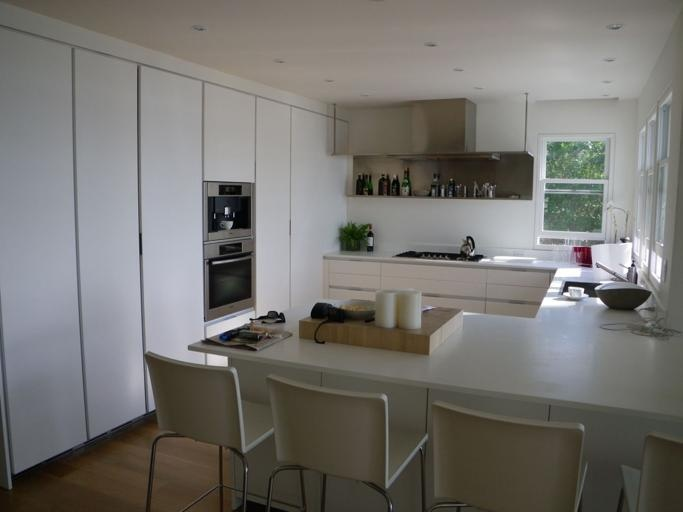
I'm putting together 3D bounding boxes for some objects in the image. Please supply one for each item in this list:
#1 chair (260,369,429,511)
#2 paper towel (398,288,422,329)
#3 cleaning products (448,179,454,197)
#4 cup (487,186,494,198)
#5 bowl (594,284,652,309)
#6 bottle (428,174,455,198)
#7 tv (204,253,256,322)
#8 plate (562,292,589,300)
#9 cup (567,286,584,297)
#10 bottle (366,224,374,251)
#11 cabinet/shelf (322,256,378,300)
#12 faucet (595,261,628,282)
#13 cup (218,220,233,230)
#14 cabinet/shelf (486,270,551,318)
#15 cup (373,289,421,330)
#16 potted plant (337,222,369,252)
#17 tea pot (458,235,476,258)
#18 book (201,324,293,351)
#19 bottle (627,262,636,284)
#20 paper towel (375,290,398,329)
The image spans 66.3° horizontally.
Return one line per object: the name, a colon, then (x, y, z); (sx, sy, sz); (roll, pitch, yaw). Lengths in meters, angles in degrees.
chair: (0.026, 0.857, 2.296); (0.704, 0.733, 0.443); (2, 9, 4)
paper towel: (0.374, 0.294, 2.845); (0.148, 0.186, 0.159); (-2, 4, -17)
cleaning products: (1.305, -0.825, 6.214); (0.080, 0.213, 0.127); (3, 9, 9)
cup: (1.726, -0.751, 6.036); (0.073, 0.122, 0.120); (5, 10, 23)
bowl: (1.926, 0.282, 3.582); (0.217, 0.132, 0.224); (-1, 1, 0)
bottle: (1.205, -0.842, 6.253); (0.288, 0.314, 0.165); (0, 1, 18)
tv: (-1.027, 0.274, 4.850); (0.450, 0.670, 0.685); (1, 4, 26)
plate: (1.791, 0.299, 4.017); (0.178, 0.043, 0.226); (5, 10, 24)
cup: (1.784, 0.272, 3.966); (0.083, 0.068, 0.086); (-2, 7, 0)
bottle: (0.370, -0.237, 6.676); (0.115, 0.339, 0.217); (2, 9, 3)
cabinet/shelf: (0.110, 0.273, 6.205); (0.784, 0.611, 0.429); (1, 0, 22)
faucet: (2.391, 0.132, 4.620); (0.381, 0.183, 0.088); (7, -21, -18)
cup: (-1.052, -0.288, 4.785); (0.039, 0.092, 0.183); (4, 10, 20)
cabinet/shelf: (1.918, 0.296, 5.663); (0.654, 0.674, 0.445); (2, 0, 24)
cup: (0.293, 0.284, 2.789); (0.306, 0.241, 0.178); (2, 3, 17)
potted plant: (0.135, -0.249, 6.645); (0.338, 0.263, 0.350); (-2, 3, -14)
tea pot: (1.496, -0.111, 6.154); (0.157, 0.295, 0.265); (-1, -3, 32)
book: (-0.526, 0.455, 2.869); (0.483, 0.065, 0.265); (1, 9, -4)
bottle: (2.353, 0.127, 4.233); (0.068, 0.150, 0.248); (6, 10, 29)
paper towel: (0.259, 0.294, 2.865); (0.146, 0.177, 0.150); (3, -1, -30)
